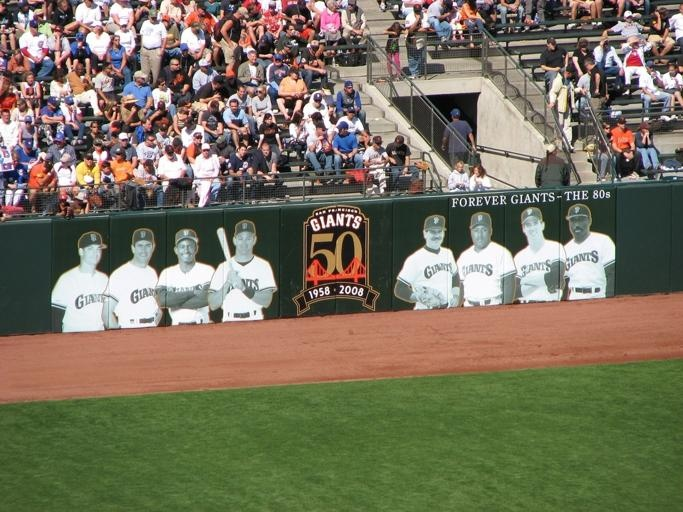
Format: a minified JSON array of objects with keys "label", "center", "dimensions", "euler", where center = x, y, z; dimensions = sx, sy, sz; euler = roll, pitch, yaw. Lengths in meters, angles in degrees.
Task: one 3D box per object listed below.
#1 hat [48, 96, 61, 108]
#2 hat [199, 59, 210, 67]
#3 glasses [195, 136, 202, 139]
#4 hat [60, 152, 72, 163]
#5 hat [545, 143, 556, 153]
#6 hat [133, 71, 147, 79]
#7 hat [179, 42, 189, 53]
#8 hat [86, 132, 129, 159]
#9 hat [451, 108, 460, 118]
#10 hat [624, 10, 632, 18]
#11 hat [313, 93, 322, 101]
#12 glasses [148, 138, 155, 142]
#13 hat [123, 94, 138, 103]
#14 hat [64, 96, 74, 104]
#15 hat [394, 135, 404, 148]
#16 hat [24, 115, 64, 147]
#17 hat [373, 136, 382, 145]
[{"label":"hat","center":[-6.645,-3.561,36.581],"dimensions":[0.229,0.237,0.421],"euler":[-3,3,0]},{"label":"hat","center":[-3.226,-4.571,37.399],"dimensions":[0.224,0.167,0.295],"euler":[-4,3,-5]},{"label":"glasses","center":[-3.165,-2.635,35.202],"dimensions":[0.131,0.151,0.037],"euler":[-6,4,-36]},{"label":"hat","center":[-6.021,-2.153,34.787],"dimensions":[0.161,0.115,0.221],"euler":[12,-1,4]},{"label":"hat","center":[4.786,-2.431,35.986],"dimensions":[0.201,0.170,0.385],"euler":[-3,3,10]},{"label":"hat","center":[-4.691,-4.238,37.096],"dimensions":[0.275,0.139,0.212],"euler":[-4,17,-9]},{"label":"hat","center":[-3.787,-5.021,38.176],"dimensions":[0.297,0.281,0.226],"euler":[1,-3,-39]},{"label":"hat","center":[-5.117,-2.458,35.292],"dimensions":[0.879,0.366,0.542],"euler":[-10,14,15]},{"label":"hat","center":[2.811,-3.464,38.324],"dimensions":[0.215,0.175,0.302],"euler":[-5,31,-11]},{"label":"hat","center":[7.437,-6.252,40.925],"dimensions":[0.188,0.173,0.303],"euler":[-5,1,-8]},{"label":"hat","center":[-0.517,-3.720,37.066],"dimensions":[0.129,0.207,0.239],"euler":[-1,4,40]},{"label":"glasses","center":[-4.214,-2.560,35.277],"dimensions":[0.046,0.075,0.119],"euler":[-1,4,40]},{"label":"hat","center":[-4.910,-3.648,36.778],"dimensions":[0.344,0.231,0.311],"euler":[-4,3,-8]},{"label":"hat","center":[-6.330,-3.611,36.852],"dimensions":[0.219,0.210,0.439],"euler":[-4,3,-10]},{"label":"hat","center":[1.342,-2.658,36.330],"dimensions":[0.210,0.223,0.383],"euler":[-3,3,-3]},{"label":"hat","center":[-6.757,-2.854,36.141],"dimensions":[1.013,0.735,0.915],"euler":[-3,3,7]},{"label":"hat","center":[0.834,-2.638,36.062],"dimensions":[0.161,0.127,0.217],"euler":[-5,18,-24]}]
